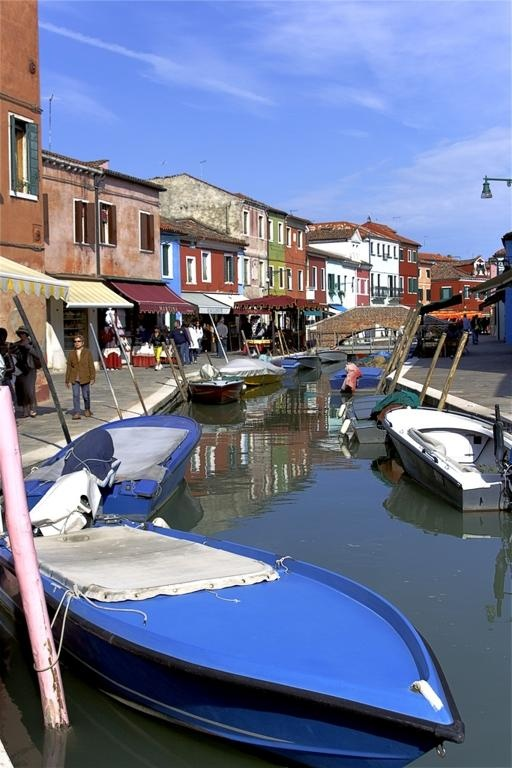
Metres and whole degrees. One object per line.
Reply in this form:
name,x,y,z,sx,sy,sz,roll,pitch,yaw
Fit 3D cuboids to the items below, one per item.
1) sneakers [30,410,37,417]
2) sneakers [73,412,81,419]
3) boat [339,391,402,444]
sneakers,-4.222,0.552,15.010,0.114,0.060,0.154,4,9,2
sneakers,-3.393,0.589,14.956,0.089,0.183,0.264,1,10,-6
boat,2.008,0.704,14.927,0.723,0.426,2.079,-2,5,5
